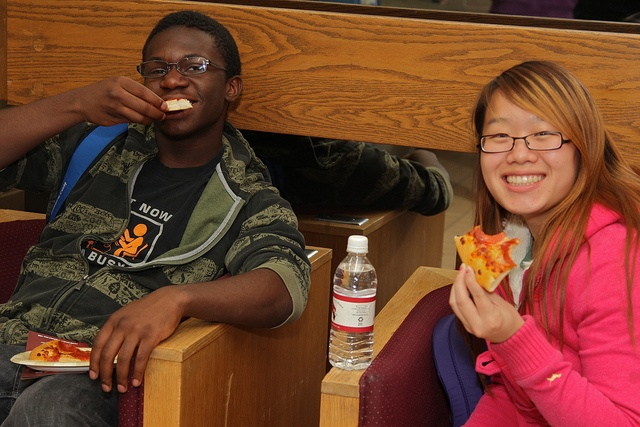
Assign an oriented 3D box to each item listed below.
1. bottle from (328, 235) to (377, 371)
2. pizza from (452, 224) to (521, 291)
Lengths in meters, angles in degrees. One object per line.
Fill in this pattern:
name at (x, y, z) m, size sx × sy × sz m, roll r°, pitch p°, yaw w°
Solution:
bottle at (0.094, 0.254, 1.366) m, size 0.144 × 0.386 × 0.241 m, roll -1°, pitch 13°, yaw 5°
pizza at (0.442, 0.102, 1.142) m, size 0.145 × 0.035 × 0.181 m, roll -17°, pitch 45°, yaw 13°
